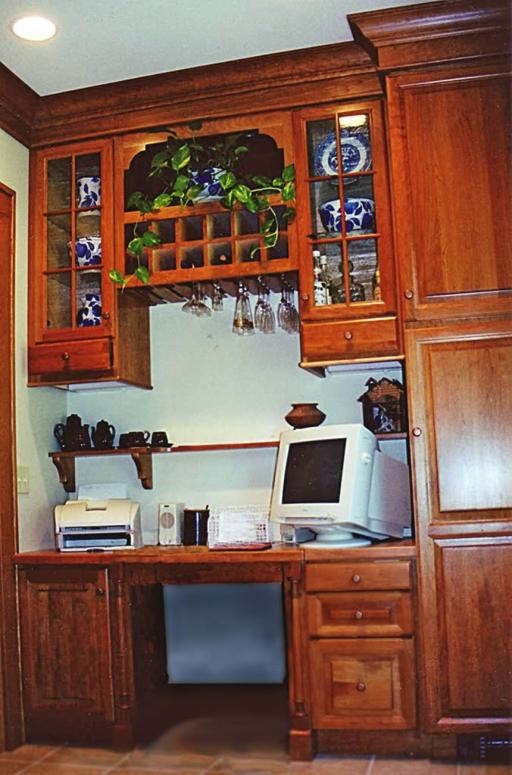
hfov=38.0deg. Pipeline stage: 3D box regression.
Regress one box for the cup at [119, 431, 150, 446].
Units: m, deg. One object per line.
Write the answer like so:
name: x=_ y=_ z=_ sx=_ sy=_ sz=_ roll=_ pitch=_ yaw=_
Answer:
cup: x=-0.543 y=0.229 z=3.366 sx=0.099 sy=0.063 sz=0.074 roll=1 pitch=-4 yaw=-40

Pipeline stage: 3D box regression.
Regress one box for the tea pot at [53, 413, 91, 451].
tea pot: x=-0.807 y=0.204 z=3.378 sx=0.204 sy=0.189 sz=0.124 roll=1 pitch=-11 yaw=-11

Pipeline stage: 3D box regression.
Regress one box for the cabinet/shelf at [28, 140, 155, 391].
cabinet/shelf: x=-0.734 y=-0.531 z=3.373 sx=0.464 sy=1.021 sz=0.395 roll=0 pitch=1 yaw=23

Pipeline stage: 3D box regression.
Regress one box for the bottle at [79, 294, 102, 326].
bottle: x=-0.727 y=-0.335 z=3.242 sx=0.088 sy=0.159 sz=0.116 roll=-1 pitch=-3 yaw=-21

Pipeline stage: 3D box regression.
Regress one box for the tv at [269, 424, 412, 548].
tv: x=0.327 y=0.393 z=2.848 sx=0.437 sy=0.478 sz=0.521 roll=-10 pitch=-15 yaw=41

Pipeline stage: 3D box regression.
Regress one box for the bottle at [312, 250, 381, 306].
bottle: x=0.363 y=-0.426 z=2.944 sx=0.258 sy=0.222 sz=0.058 roll=0 pitch=-5 yaw=5

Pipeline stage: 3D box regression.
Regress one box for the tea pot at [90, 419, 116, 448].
tea pot: x=-0.701 y=0.216 z=3.400 sx=0.138 sy=0.143 sz=0.102 roll=4 pitch=-20 yaw=-12

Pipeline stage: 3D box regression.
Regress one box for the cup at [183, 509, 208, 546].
cup: x=-0.263 y=0.605 z=3.223 sx=0.141 sy=0.139 sz=0.138 roll=2 pitch=-9 yaw=0

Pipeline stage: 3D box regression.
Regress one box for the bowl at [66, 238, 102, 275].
bowl: x=-0.740 y=-0.587 z=3.236 sx=0.148 sy=0.151 sz=0.086 roll=-2 pitch=-3 yaw=0

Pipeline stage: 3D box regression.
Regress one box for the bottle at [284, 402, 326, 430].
bottle: x=0.203 y=0.123 z=3.091 sx=0.130 sy=0.082 sz=0.125 roll=-1 pitch=-9 yaw=0

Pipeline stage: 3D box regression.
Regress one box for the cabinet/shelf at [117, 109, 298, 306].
cabinet/shelf: x=-0.210 y=-0.761 z=3.128 sx=0.893 sy=0.723 sz=0.277 roll=-2 pitch=-3 yaw=14

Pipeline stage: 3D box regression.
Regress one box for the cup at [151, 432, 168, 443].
cup: x=-0.432 y=0.226 z=3.366 sx=0.055 sy=0.031 sz=0.059 roll=-1 pitch=-3 yaw=0
